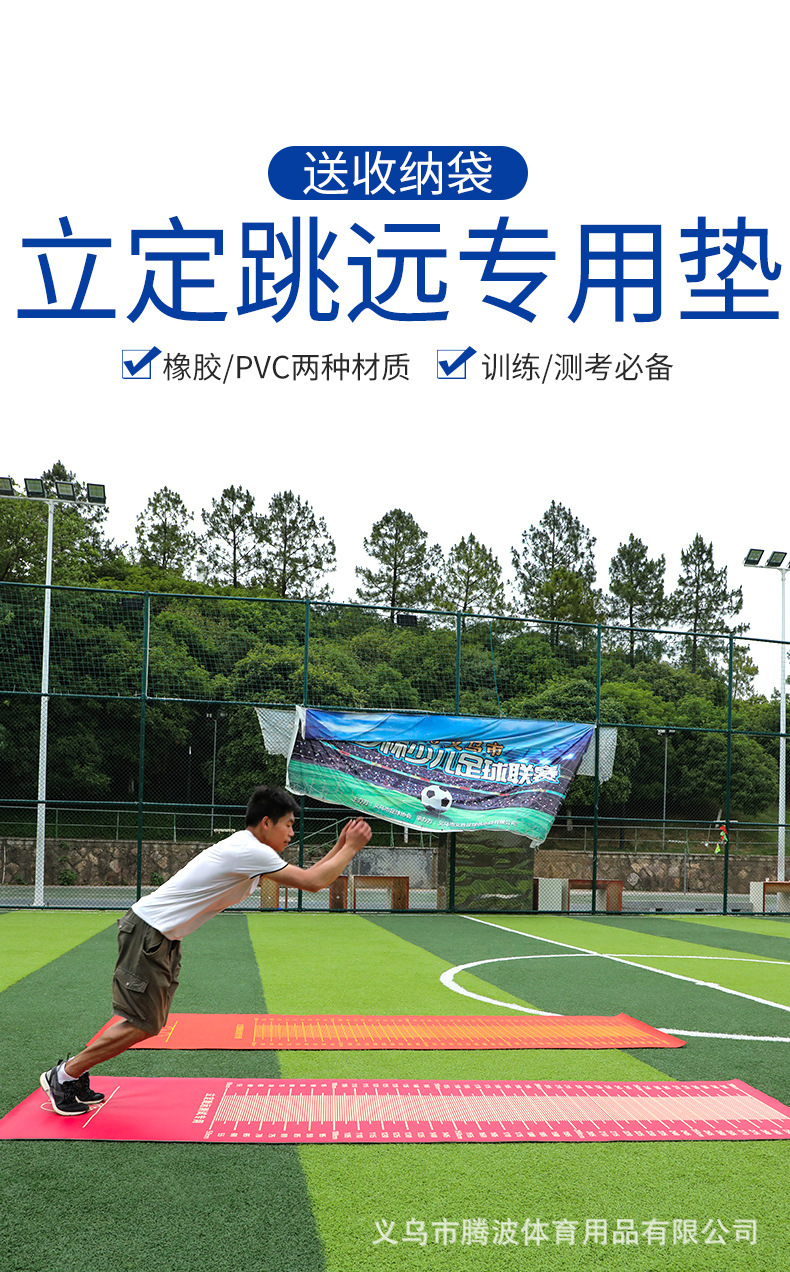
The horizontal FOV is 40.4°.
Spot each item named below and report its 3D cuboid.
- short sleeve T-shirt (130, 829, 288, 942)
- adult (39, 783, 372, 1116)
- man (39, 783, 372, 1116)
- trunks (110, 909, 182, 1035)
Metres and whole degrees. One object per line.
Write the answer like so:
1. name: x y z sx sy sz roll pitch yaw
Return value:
1. short sleeve T-shirt: -0.770 0.943 4.397 0.462 0.521 0.487 6 -7 -27
2. adult: -0.807 1.315 4.399 1.352 1.383 0.494 2 -5 12
3. man: -0.801 1.315 4.401 1.363 1.383 0.505 1 -5 12
4. trunks: -1.000 1.359 4.311 0.240 0.490 0.233 4 -5 -13
